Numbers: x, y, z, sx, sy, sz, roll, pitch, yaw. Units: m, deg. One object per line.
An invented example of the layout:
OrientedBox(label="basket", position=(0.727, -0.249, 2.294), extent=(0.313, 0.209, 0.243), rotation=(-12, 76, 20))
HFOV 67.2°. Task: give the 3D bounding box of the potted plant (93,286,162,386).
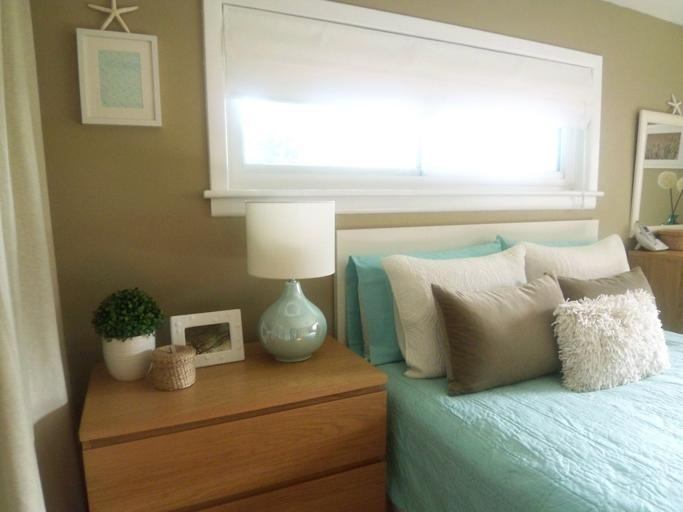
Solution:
OrientedBox(label="potted plant", position=(-0.844, 0.284, 2.182), extent=(0.346, 0.429, 0.317), rotation=(-5, 13, -29))

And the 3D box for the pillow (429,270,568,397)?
OrientedBox(label="pillow", position=(0.646, 0.347, 2.136), extent=(0.484, 0.326, 0.169), rotation=(-5, 2, -23))

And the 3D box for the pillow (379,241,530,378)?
OrientedBox(label="pillow", position=(0.489, 0.257, 2.239), extent=(0.560, 0.377, 0.192), rotation=(-7, 9, -30))

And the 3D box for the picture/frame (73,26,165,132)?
OrientedBox(label="picture/frame", position=(-0.967, -0.760, 2.188), extent=(0.461, 0.559, 0.039), rotation=(-1, 3, -24))

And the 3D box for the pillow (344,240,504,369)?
OrientedBox(label="pillow", position=(0.351, 0.241, 2.301), extent=(0.533, 0.375, 0.183), rotation=(-8, 15, -25))

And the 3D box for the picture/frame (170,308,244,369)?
OrientedBox(label="picture/frame", position=(-0.558, 0.355, 2.137), extent=(0.222, 0.174, 0.034), rotation=(-4, 5, -21))
